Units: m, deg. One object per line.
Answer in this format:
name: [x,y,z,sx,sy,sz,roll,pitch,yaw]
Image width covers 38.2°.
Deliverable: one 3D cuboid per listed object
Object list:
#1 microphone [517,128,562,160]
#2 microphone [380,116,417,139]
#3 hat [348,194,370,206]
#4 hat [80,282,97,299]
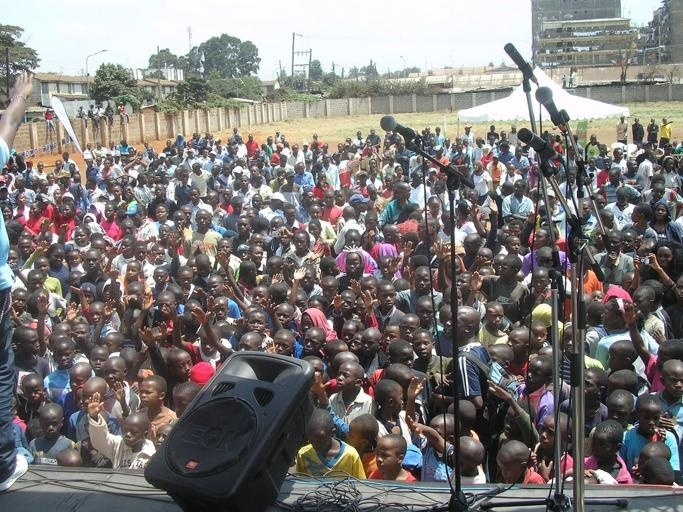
microphone: [1.788,-1.005,8.825,0.540,0.153,0.162,27,26,-35]
microphone: [0.486,-1.177,8.951,0.385,0.147,0.151,23,11,-47]
hat: [0.299,-0.913,16.389,0.283,0.161,0.190,-5,19,-13]
hat: [-3.467,0.476,13.639,0.177,0.226,0.235,-2,-4,-8]
